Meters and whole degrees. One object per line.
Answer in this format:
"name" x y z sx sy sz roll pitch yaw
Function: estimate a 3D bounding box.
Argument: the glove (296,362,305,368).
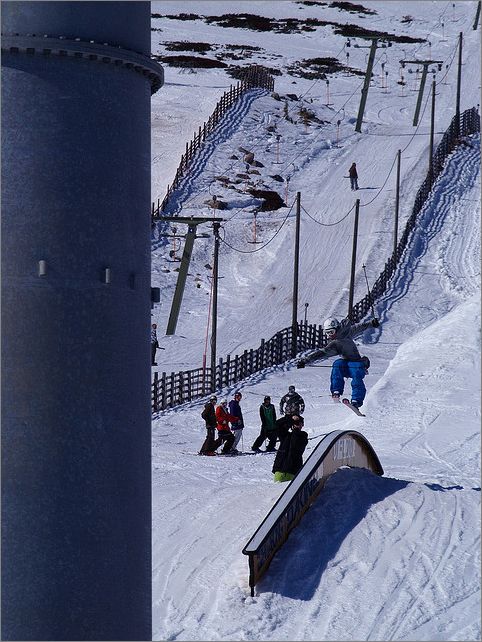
"glove" 0.537 0.391 12.700 0.049 0.025 0.076 5 39 6

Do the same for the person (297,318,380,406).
"person" 1.198 0.548 16.717 0.923 1.080 0.284 -15 41 17

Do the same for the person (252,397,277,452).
"person" 0.309 1.385 19.018 0.351 0.781 1.006 -5 4 0
